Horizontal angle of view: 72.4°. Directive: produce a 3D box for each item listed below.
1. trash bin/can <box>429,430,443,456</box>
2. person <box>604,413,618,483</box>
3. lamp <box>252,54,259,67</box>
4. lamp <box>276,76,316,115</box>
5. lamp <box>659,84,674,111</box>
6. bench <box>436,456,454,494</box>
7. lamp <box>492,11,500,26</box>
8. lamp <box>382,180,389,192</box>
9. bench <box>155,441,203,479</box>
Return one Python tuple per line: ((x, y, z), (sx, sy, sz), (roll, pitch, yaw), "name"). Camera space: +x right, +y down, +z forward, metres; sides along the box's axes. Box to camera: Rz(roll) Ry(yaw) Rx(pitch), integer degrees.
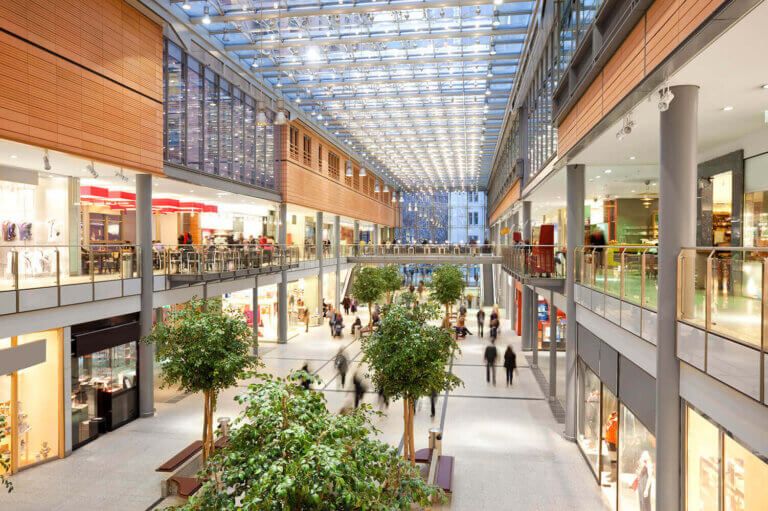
((1.358, 4.902, 13.760), (0.292, 0.596, 0.697), (-3, 0, -2), "trash bin/can")
((5.563, 4.674, 12.875), (0.224, 1.749, 0.750), (-3, 0, 12), "person")
((-5.362, -8.146, 22.243), (0.278, 0.503, 0.264), (-20, 51, -24), "lamp")
((-4.369, -8.079, 26.558), (1.691, 0.713, 5.223), (-3, 0, -4), "lamp")
((5.050, -2.820, 9.428), (0.247, 0.491, 0.617), (-3, 0, 30), "lamp")
((1.554, 5.337, 12.735), (0.177, 0.739, 0.236), (-3, -28, 25), "bench")
((4.010, -8.477, 18.772), (0.271, 0.464, 0.249), (-1, -1, 17), "lamp")
((0.164, -7.501, 59.042), (0.748, 1.591, 0.728), (0, -4, 11), "lamp")
((-5.184, 5.114, 13.379), (0.558, 0.145, 2.121), (16, 8, 7), "bench")
